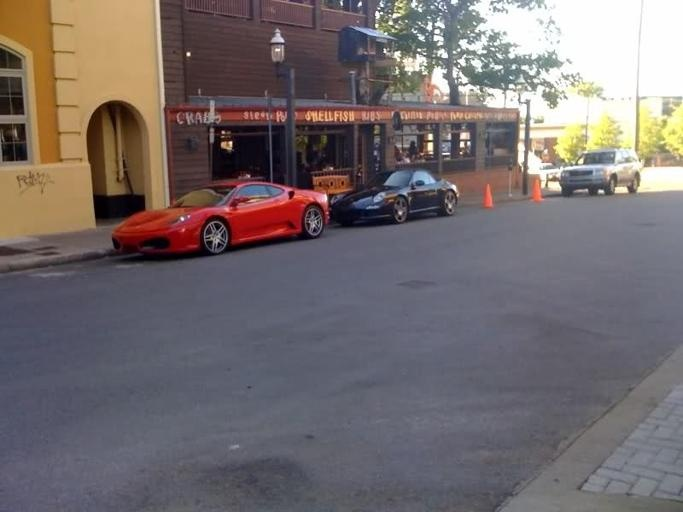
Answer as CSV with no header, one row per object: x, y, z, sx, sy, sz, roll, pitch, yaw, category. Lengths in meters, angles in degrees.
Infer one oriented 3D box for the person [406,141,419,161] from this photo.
3.747,-5.549,32.141,0.538,1.095,1.623,0,9,6,person

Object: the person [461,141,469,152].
7.279,-6.349,35.723,0.233,0.693,0.969,5,10,33,person
